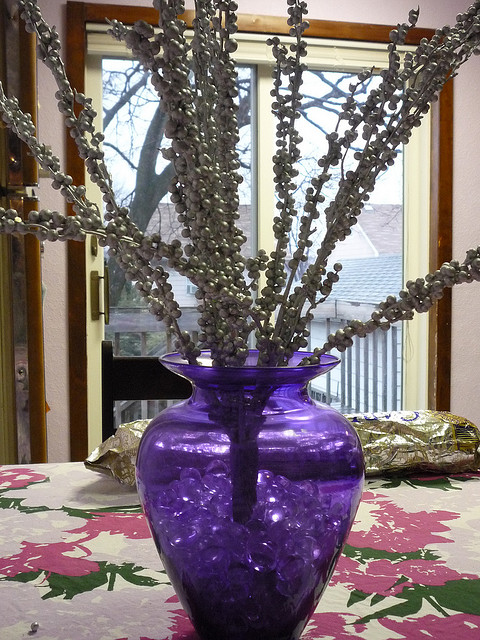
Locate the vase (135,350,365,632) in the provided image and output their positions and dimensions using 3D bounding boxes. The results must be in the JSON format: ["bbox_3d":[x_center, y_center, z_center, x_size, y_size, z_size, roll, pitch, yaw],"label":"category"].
[{"bbox_3d":[0.017,0.123,0.545,0.226,0.241,0.204,-1,-4,-3],"label":"vase"}]
